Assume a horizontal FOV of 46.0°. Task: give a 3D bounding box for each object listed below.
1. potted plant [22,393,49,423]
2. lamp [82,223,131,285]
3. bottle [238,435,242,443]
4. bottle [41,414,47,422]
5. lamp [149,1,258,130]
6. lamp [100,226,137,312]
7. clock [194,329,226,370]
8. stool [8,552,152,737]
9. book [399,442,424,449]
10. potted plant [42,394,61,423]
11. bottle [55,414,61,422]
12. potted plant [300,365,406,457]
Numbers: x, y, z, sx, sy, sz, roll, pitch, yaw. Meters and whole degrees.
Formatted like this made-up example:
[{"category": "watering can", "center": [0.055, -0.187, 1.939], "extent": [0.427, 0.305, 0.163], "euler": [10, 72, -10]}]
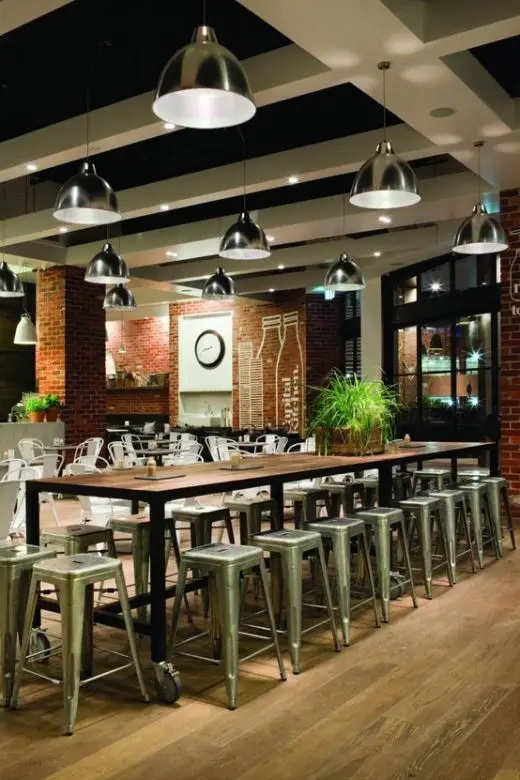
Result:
[{"category": "potted plant", "center": [-3.177, 0.267, 8.683], "extent": [0.352, 0.451, 0.418], "euler": [2, -4, -12]}, {"category": "lamp", "center": [-1.220, -1.092, 5.062], "extent": [0.375, 0.442, 0.394], "euler": [0, -1, -3]}, {"category": "bottle", "center": [-0.333, 0.893, 11.093], "extent": [0.075, 0.148, 0.076], "euler": [1, -1, 0]}, {"category": "bottle", "center": [-3.007, 0.397, 8.574], "extent": [0.077, 0.096, 0.084], "euler": [-1, 2, -6]}, {"category": "lamp", "center": [-0.201, -1.192, 2.204], "extent": [0.364, 0.457, 0.383], "euler": [0, -5, -6]}, {"category": "lamp", "center": [-1.346, -1.030, 6.077], "extent": [0.393, 0.767, 0.439], "euler": [1, 5, -1]}, {"category": "clock", "center": [-1.029, -0.865, 13.121], "extent": [0.140, 0.879, 0.812], "euler": [2, 0, -43]}, {"category": "stool", "center": [-0.659, 0.864, 2.237], "extent": [0.507, 0.518, 0.512], "euler": [-4, -7, 33]}, {"category": "book", "center": [1.232, 0.449, 4.898], "extent": [0.110, 0.024, 0.111], "euler": [-1, 2, -43]}, {"category": "potted plant", "center": [-2.904, 0.251, 8.653], "extent": [0.298, 0.421, 0.375], "euler": [-1, 3, 2]}, {"category": "bottle", "center": [-2.896, 0.415, 8.860], "extent": [0.076, 0.090, 0.080], "euler": [0, 0, 18]}, {"category": "potted plant", "center": [0.670, 0.122, 4.355], "extent": [0.631, 0.501, 0.654], "euler": [-2, -5, 29]}]
